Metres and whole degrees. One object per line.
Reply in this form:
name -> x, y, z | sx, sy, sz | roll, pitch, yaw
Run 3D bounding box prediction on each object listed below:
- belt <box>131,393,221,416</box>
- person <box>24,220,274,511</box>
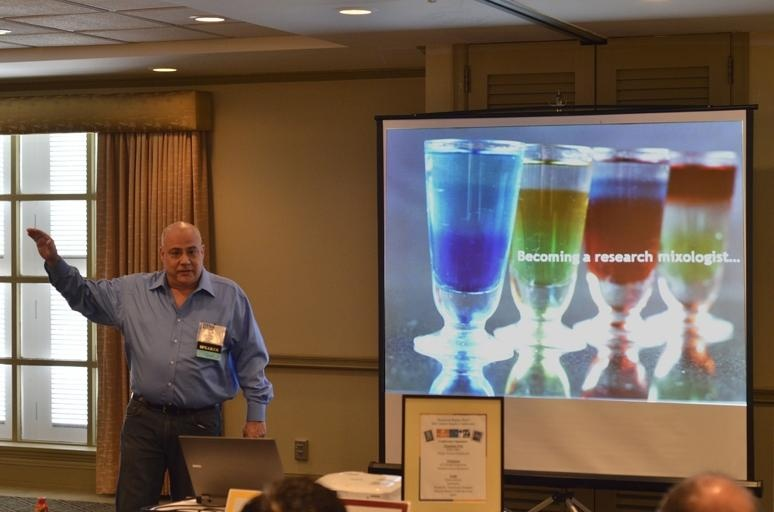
belt -> -1.368, 0.967, 5.492 | 0.551, 0.139, 0.125 | 0, 3, -5
person -> -1.267, 0.691, 5.547 | 0.938, 1.807, 0.565 | 0, 3, -17
